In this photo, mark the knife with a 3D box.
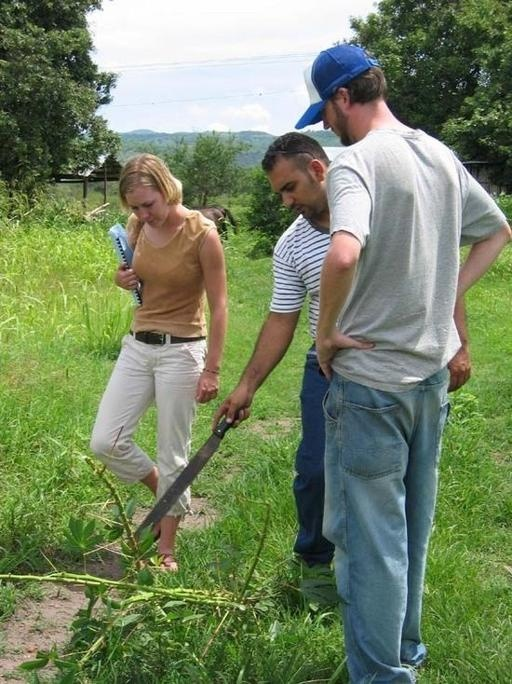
[{"bbox_3d":[-0.333,0.607,3.046,0.201,0.102,1.304,10,-25,-18],"label":"knife"}]

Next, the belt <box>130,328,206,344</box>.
[{"bbox_3d":[-0.420,-0.022,3.444,0.347,0.065,0.141,0,9,-4],"label":"belt"}]
